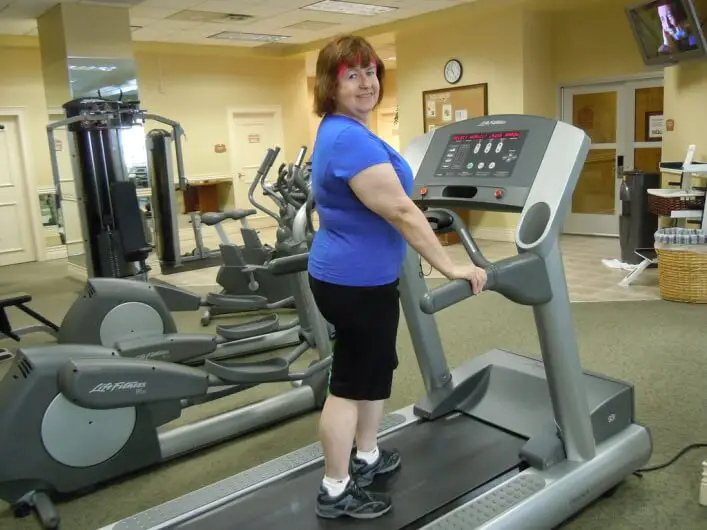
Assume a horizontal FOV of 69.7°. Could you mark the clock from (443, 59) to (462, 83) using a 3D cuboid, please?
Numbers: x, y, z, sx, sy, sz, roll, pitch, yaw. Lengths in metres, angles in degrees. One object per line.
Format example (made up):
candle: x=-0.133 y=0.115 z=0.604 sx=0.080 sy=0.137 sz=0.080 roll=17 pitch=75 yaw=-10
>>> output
clock: x=1.524 y=-2.972 z=7.723 sx=0.059 sy=0.411 sz=0.408 roll=0 pitch=0 yaw=-42

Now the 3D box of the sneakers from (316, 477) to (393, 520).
sneakers: x=0.002 y=0.899 z=1.980 sx=0.329 sy=0.157 sz=0.118 roll=0 pitch=-5 yaw=-9

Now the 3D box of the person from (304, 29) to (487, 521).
person: x=0.053 y=0.070 z=1.845 sx=0.583 sy=1.752 sz=0.387 roll=-8 pitch=13 yaw=-7

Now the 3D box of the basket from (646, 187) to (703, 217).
basket: x=3.028 y=-0.597 z=4.769 sx=0.335 sy=0.163 sz=0.512 roll=3 pitch=7 yaw=30
